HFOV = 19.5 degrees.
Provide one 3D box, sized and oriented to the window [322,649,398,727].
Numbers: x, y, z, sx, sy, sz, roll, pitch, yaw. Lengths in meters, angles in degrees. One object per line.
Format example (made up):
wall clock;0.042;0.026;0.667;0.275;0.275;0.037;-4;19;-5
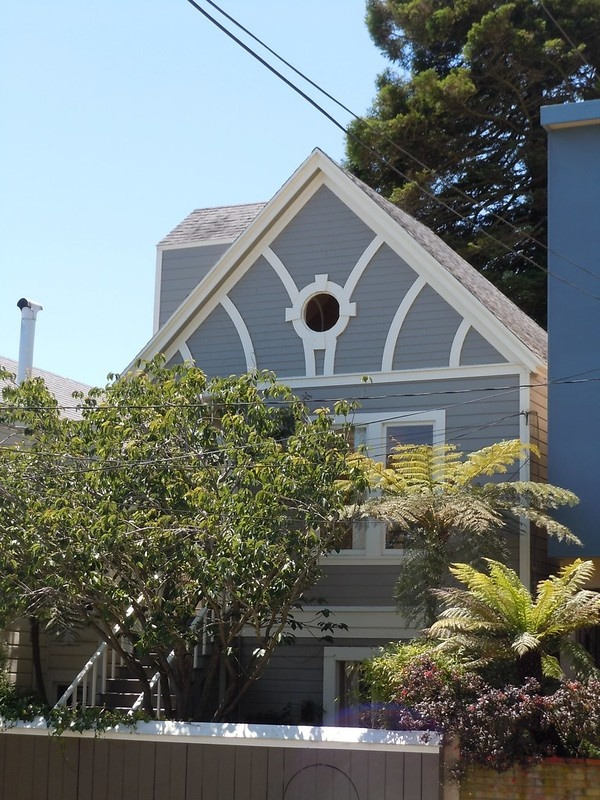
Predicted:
window;0.595;3.982;24.605;0.642;1.046;0.703;-2;-6;-20

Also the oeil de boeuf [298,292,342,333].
oeil de boeuf;0.299;-1.332;26.274;0.567;0.644;0.086;8;-4;11

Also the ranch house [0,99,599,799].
ranch house;0.222;1.401;22.819;8.492;7.986;4.723;-6;-15;30

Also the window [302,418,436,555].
window;0.901;1.172;22.718;2.102;2.769;0.122;-1;-21;11
